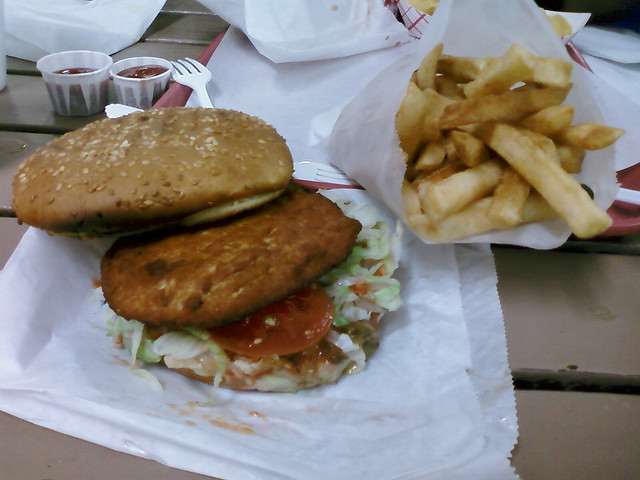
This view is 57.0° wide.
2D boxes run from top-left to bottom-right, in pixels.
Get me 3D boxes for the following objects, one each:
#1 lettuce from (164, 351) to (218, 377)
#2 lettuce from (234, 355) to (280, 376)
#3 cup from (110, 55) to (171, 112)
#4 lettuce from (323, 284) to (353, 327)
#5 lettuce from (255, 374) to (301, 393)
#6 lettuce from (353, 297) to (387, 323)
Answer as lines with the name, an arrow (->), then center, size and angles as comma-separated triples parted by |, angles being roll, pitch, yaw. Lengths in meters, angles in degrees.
lettuce -> -0.361, 0.353, 1.667 | 0.142, 0.036, 0.068 | -5, 60, -6
lettuce -> -0.177, 0.349, 1.656 | 0.127, 0.028, 0.052 | 0, 60, -3
cup -> -0.789, -0.702, 2.647 | 0.261, 0.137, 0.212 | -19, 56, -27
lettuce -> 0.055, 0.187, 1.719 | 0.119, 0.031, 0.097 | -1, 77, -8
lettuce -> -0.121, 0.405, 1.674 | 0.105, 0.065, 0.022 | 4, 88, -20
lettuce -> 0.154, 0.215, 1.777 | 0.067, 0.016, 0.064 | 4, 32, -16
